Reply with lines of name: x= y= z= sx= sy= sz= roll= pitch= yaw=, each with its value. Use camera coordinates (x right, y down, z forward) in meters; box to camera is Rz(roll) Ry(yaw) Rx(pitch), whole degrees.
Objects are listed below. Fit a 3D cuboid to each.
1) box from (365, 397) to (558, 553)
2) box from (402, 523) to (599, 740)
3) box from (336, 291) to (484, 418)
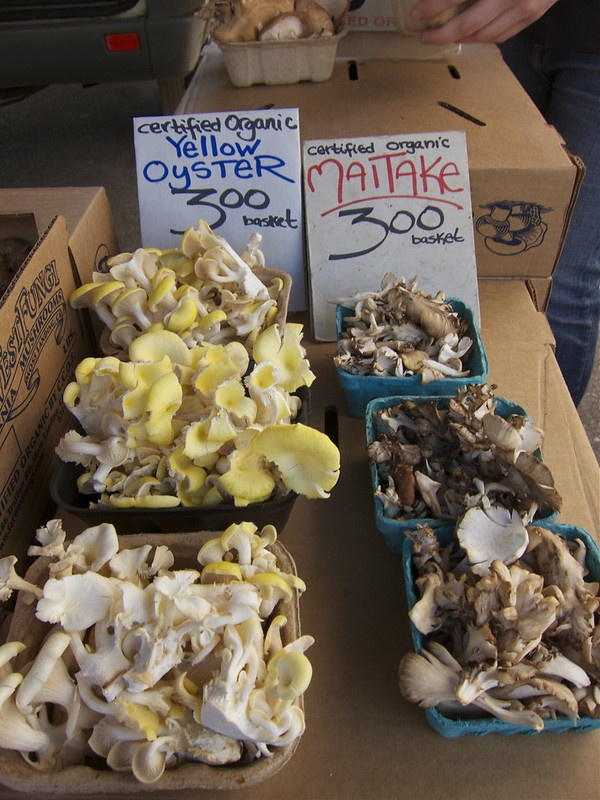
box: x=0.231 y=0.115 z=1.351 sx=0.283 sy=0.137 sz=0.354 roll=-1 pitch=45 yaw=0
box: x=0.332 y=0.375 z=1.151 sx=0.319 sy=0.204 sz=0.314 roll=1 pitch=45 yaw=5
box: x=0.263 y=-0.077 z=1.574 sx=0.260 sy=0.140 sz=0.321 roll=-4 pitch=40 yaw=3
